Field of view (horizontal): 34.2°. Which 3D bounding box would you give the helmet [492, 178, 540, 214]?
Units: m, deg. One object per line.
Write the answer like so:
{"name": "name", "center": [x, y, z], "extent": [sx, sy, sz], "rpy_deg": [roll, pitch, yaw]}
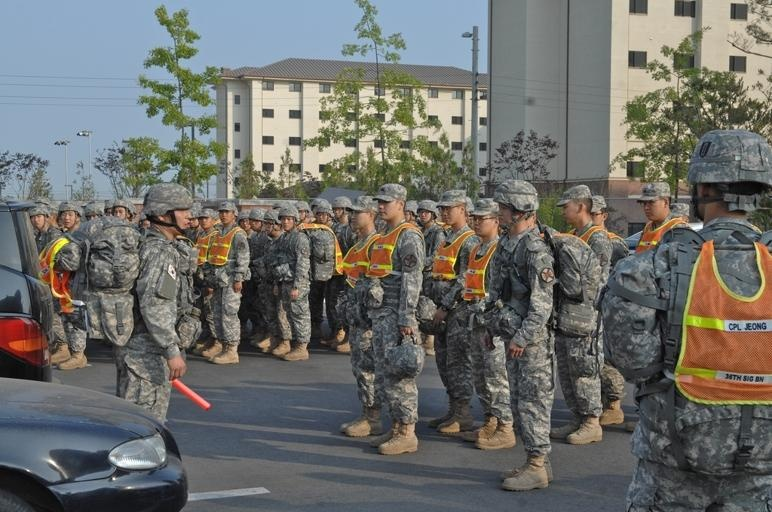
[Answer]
{"name": "helmet", "center": [1.680, -0.774, 15.951], "extent": [0.522, 0.283, 0.388], "rpy_deg": [-1, 10, -9]}

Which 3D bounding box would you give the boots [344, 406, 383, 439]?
{"name": "boots", "center": [-0.273, 2.327, 17.438], "extent": [0.702, 0.427, 0.256], "rpy_deg": [2, -3, -12]}

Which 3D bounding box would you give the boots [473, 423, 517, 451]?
{"name": "boots", "center": [1.531, 2.460, 16.978], "extent": [0.680, 0.432, 0.236], "rpy_deg": [2, -5, -9]}

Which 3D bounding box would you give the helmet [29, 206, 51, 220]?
{"name": "helmet", "center": [-5.767, -0.710, 20.896], "extent": [0.416, 0.171, 0.561], "rpy_deg": [-4, -1, -13]}

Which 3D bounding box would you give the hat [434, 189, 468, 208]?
{"name": "hat", "center": [1.007, -0.832, 18.169], "extent": [0.376, 0.165, 0.250], "rpy_deg": [0, 0, -14]}

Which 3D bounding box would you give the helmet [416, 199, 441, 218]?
{"name": "helmet", "center": [0.732, -0.858, 21.951], "extent": [0.416, 0.386, 0.538], "rpy_deg": [2, 6, 35]}

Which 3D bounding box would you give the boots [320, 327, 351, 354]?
{"name": "boots", "center": [-0.879, 1.613, 23.234], "extent": [0.398, 0.257, 0.747], "rpy_deg": [3, -4, -22]}

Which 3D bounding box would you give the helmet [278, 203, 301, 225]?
{"name": "helmet", "center": [-1.739, -0.783, 22.463], "extent": [0.324, 0.313, 0.403], "rpy_deg": [-1, -22, 12]}

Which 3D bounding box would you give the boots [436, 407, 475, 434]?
{"name": "boots", "center": [1.022, 2.319, 17.619], "extent": [0.698, 0.443, 0.232], "rpy_deg": [2, -3, -16]}

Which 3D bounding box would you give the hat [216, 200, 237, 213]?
{"name": "hat", "center": [-2.804, -0.897, 22.415], "extent": [0.266, 0.169, 0.362], "rpy_deg": [0, -3, 1]}

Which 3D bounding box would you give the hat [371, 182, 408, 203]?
{"name": "hat", "center": [0.096, -0.845, 17.033], "extent": [0.350, 0.156, 0.237], "rpy_deg": [2, 0, -28]}

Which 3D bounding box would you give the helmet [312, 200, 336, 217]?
{"name": "helmet", "center": [-1.213, -0.888, 23.730], "extent": [0.292, 0.321, 0.372], "rpy_deg": [0, 11, 18]}

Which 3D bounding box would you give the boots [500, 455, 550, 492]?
{"name": "boots", "center": [1.742, 2.660, 15.742], "extent": [0.716, 0.464, 0.299], "rpy_deg": [-1, 4, -35]}

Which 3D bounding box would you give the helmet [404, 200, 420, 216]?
{"name": "helmet", "center": [0.496, -0.898, 23.550], "extent": [0.247, 0.202, 0.270], "rpy_deg": [-3, -2, 43]}

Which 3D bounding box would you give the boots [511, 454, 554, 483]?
{"name": "boots", "center": [1.817, 2.721, 15.876], "extent": [0.677, 0.461, 0.255], "rpy_deg": [1, 1, -8]}

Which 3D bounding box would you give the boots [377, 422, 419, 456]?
{"name": "boots", "center": [0.165, 2.378, 16.759], "extent": [0.570, 0.488, 0.242], "rpy_deg": [-3, 2, -20]}

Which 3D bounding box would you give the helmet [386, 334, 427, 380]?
{"name": "helmet", "center": [0.349, 1.366, 16.716], "extent": [0.472, 0.545, 0.593], "rpy_deg": [5, -8, -24]}

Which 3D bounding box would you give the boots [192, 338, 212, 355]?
{"name": "boots", "center": [-3.306, 1.648, 22.856], "extent": [0.358, 0.177, 0.524], "rpy_deg": [-43, 7, -9]}

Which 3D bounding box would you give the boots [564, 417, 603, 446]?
{"name": "boots", "center": [2.759, 2.398, 17.114], "extent": [0.639, 0.390, 0.235], "rpy_deg": [1, -1, -10]}

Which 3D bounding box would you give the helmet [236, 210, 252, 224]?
{"name": "helmet", "center": [-2.714, -0.732, 24.156], "extent": [0.295, 0.117, 0.382], "rpy_deg": [0, -7, -9]}

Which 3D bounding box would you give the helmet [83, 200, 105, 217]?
{"name": "helmet", "center": [-5.180, -0.844, 22.329], "extent": [0.308, 0.296, 0.414], "rpy_deg": [-1, -6, -4]}

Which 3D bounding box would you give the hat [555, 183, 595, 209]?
{"name": "hat", "center": [2.683, -0.848, 17.648], "extent": [0.482, 0.225, 0.324], "rpy_deg": [-2, 2, 8]}

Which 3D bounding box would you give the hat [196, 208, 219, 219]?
{"name": "hat", "center": [-3.280, -0.775, 23.093], "extent": [0.380, 0.164, 0.544], "rpy_deg": [0, 0, 2]}

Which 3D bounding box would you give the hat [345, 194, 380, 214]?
{"name": "hat", "center": [-0.295, -0.731, 17.798], "extent": [0.338, 0.164, 0.232], "rpy_deg": [10, -9, -43]}

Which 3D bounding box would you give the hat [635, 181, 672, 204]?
{"name": "hat", "center": [4.049, -0.949, 18.691], "extent": [0.433, 0.192, 0.291], "rpy_deg": [-1, 4, -1]}

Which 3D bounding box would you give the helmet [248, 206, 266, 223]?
{"name": "helmet", "center": [-2.443, -0.797, 24.105], "extent": [0.294, 0.149, 0.292], "rpy_deg": [5, 12, 26]}
